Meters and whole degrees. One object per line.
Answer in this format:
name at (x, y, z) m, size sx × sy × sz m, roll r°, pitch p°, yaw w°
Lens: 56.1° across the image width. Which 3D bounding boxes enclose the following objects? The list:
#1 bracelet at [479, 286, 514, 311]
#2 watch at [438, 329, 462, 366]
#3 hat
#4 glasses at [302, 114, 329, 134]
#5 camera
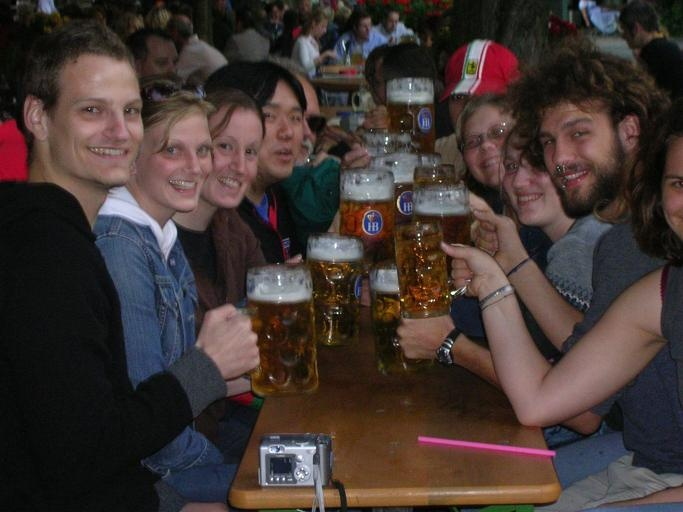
bracelet at (0.423, 0.106, 1.740) m, size 0.068 × 0.019 × 0.072 m, roll -35°, pitch -7°, yaw -20°
watch at (0.305, 0.250, 1.807) m, size 0.050 × 0.095 × 0.084 m, roll 22°, pitch 34°, yaw 38°
hat at (0.692, -0.910, 3.164) m, size 0.306 × 0.233 × 0.438 m, roll 4°, pitch 26°, yaw 34°
glasses at (-0.134, -0.662, 3.187) m, size 0.113 × 0.093 × 0.088 m, roll 0°, pitch -1°, yaw -36°
camera at (-0.106, 0.455, 1.446) m, size 0.159 × 0.115 × 0.113 m, roll 0°, pitch 1°, yaw 6°
